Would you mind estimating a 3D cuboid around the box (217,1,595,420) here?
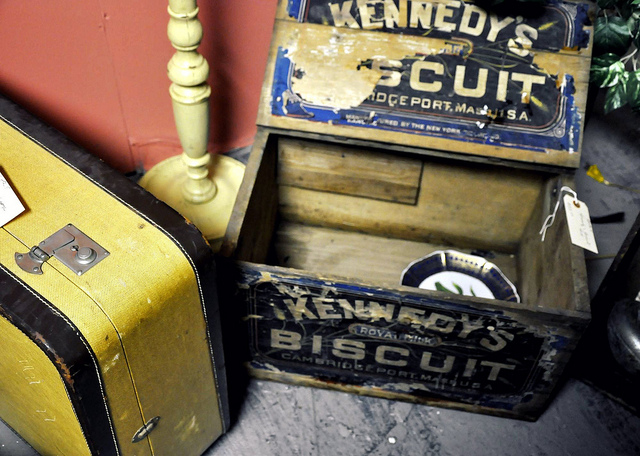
[{"bbox_3d":[0.337,-0.115,2.938,1.246,1.114,1.124,6,43,3],"label":"box"}]
